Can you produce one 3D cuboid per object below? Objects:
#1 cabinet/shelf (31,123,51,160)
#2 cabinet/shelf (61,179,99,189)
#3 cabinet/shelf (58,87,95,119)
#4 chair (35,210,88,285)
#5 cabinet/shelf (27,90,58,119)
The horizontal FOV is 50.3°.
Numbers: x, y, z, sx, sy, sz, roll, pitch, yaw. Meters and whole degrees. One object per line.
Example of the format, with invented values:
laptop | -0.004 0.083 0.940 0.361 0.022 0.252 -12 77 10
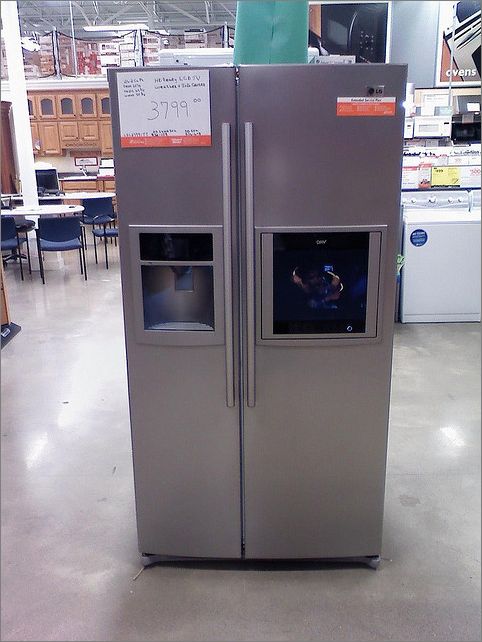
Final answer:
cabinet/shelf | -4.388 -3.958 11.251 0.396 0.735 0.329 -3 11 -9
cabinet/shelf | -3.404 -2.860 10.817 0.903 0.254 0.189 3 12 16
cabinet/shelf | -3.461 -4.582 10.857 0.810 0.517 0.136 1 11 9
chair | -2.243 -0.902 6.399 0.555 0.787 0.790 -5 12 -18
cabinet/shelf | -4.203 -4.599 10.931 0.672 0.545 0.145 -1 11 -1
